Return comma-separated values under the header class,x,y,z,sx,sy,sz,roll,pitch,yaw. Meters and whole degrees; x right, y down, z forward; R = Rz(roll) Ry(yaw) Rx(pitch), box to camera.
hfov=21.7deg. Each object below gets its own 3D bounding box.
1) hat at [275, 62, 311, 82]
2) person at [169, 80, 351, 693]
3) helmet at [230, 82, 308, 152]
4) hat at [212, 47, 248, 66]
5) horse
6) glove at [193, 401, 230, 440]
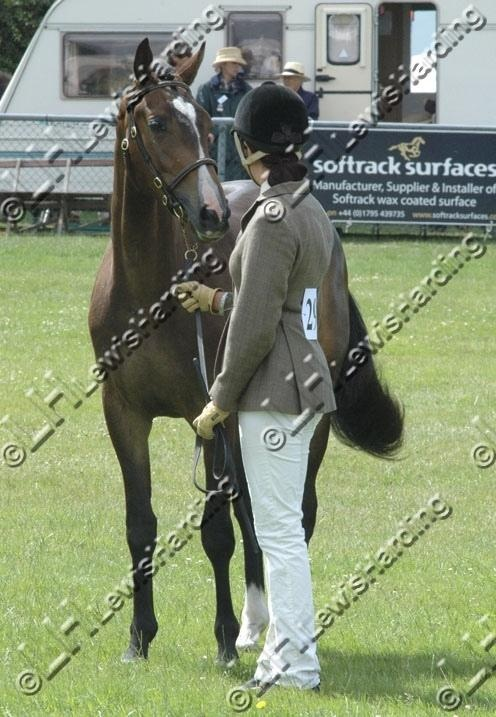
class,x,y,z,sx,sy,sz,roll,pitch,yaw
hat,0.428,-2.787,12.408,0.224,0.111,0.257,6,-7,9
person,0.067,0.093,4.304,0.437,1.982,0.489,1,10,4
helmet,0.080,-0.795,4.245,0.163,0.172,0.254,2,14,-8
hat,-0.150,-2.874,12.204,0.209,0.167,0.285,0,-6,30
horse,-0.166,0.156,5.523,0.515,1.831,2.262,-9,-7,31
glove,-0.123,0.212,4.379,0.057,0.153,0.096,4,47,-40
